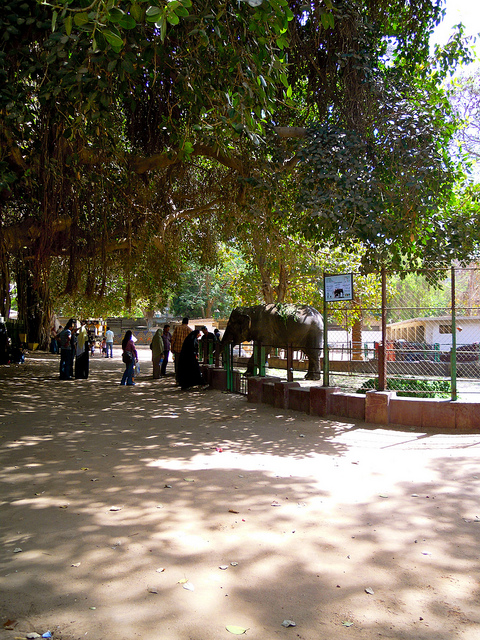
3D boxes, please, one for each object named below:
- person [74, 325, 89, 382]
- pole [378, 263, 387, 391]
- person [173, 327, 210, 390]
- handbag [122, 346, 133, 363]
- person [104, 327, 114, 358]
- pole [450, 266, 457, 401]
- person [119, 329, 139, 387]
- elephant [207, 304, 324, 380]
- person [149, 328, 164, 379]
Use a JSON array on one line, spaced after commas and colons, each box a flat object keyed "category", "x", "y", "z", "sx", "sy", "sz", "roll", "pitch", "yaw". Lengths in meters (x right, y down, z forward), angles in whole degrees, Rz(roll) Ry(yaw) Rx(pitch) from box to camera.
[{"category": "person", "x": -4.939, "y": 1.018, "z": 15.665, "sx": 0.430, "sy": 1.637, "sz": 1.162, "roll": 1, "pitch": -2, "yaw": -18}, {"category": "pole", "x": 2.370, "y": 0.099, "z": 8.354, "sx": 0.121, "sy": 2.139, "sz": 0.771, "roll": 0, "pitch": -1, "yaw": 15}, {"category": "person", "x": -1.265, "y": 1.032, "z": 13.306, "sx": 0.937, "sy": 1.548, "sz": 1.120, "roll": 1, "pitch": -2, "yaw": -6}, {"category": "handbag", "x": -2.941, "y": 0.920, "z": 13.192, "sx": 0.310, "sy": 0.493, "sz": 0.268, "roll": 1, "pitch": -5, "yaw": 6}, {"category": "person", "x": -7.335, "y": 1.248, "z": 28.005, "sx": 0.411, "sy": 1.680, "sz": 2.826, "roll": 1, "pitch": -2, "yaw": -15}, {"category": "pole", "x": 3.376, "y": 0.204, "z": 7.899, "sx": 0.081, "sy": 2.097, "sz": 0.477, "roll": 0, "pitch": -2, "yaw": 23}, {"category": "person", "x": -3.144, "y": 1.056, "z": 14.101, "sx": 0.483, "sy": 1.510, "sz": 2.968, "roll": 1, "pitch": -2, "yaw": -12}, {"category": "elephant", "x": 0.877, "y": 0.583, "z": 16.270, "sx": 3.854, "sy": 2.680, "sz": 1.769, "roll": -1, "pitch": 21, "yaw": 7}, {"category": "person", "x": -2.606, "y": 1.064, "z": 15.863, "sx": 0.407, "sy": 1.583, "sz": 2.146, "roll": 1, "pitch": -2, "yaw": -9}]
